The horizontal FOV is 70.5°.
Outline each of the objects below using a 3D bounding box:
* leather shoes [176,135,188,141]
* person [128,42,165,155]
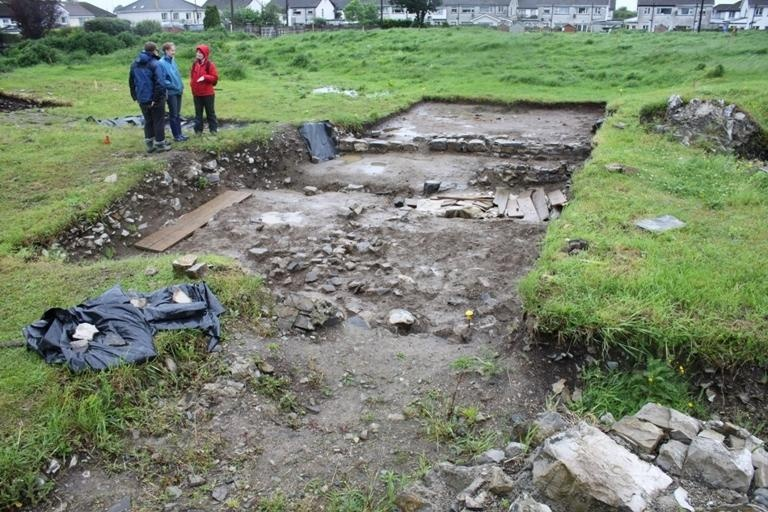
[{"bbox_3d":[-4.956,-2.884,13.326,0.279,0.105,0.178,10,30,20],"label":"leather shoes"},{"bbox_3d":[-5.348,-3.629,12.454,0.704,2.386,0.650,-13,27,-23],"label":"person"}]
